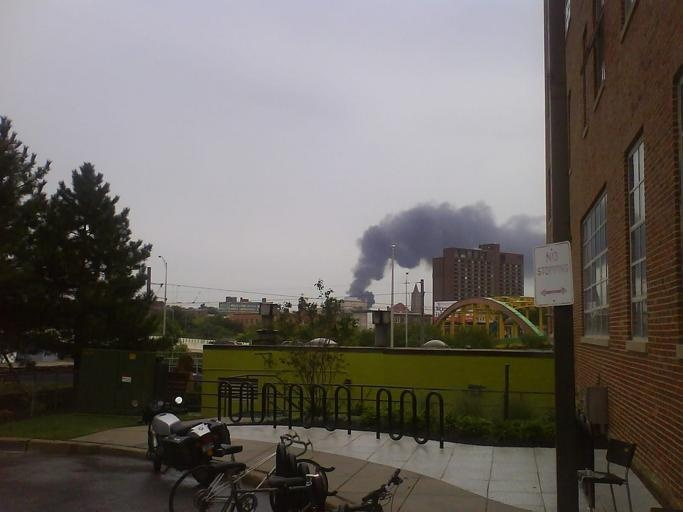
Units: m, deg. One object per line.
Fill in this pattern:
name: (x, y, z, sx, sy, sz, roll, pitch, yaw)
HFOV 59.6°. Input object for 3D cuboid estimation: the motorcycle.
motorcycle: (-3.461, 3.673, 12.276, 2.464, 1.592, 1.025, -3, 7, 42)
